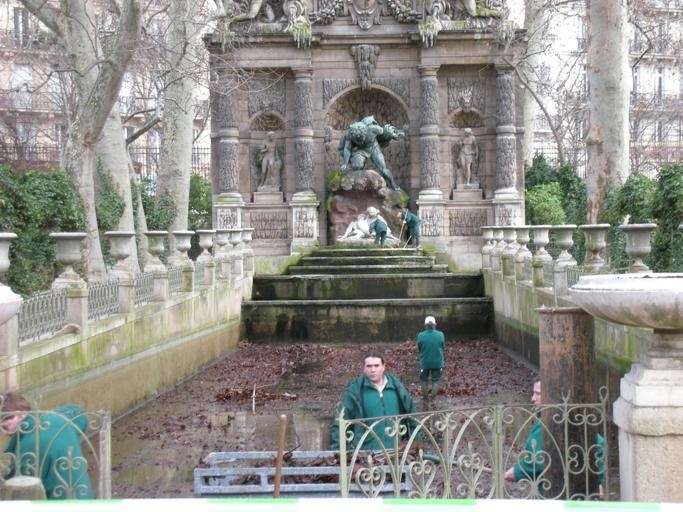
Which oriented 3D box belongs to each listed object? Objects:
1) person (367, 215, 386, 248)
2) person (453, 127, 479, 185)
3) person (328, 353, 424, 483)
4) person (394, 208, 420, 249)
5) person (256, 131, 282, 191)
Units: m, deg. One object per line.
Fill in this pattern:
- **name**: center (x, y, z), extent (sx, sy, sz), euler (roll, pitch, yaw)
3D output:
- **person**: center (1.043, -0.720, 26.646), extent (0.472, 0.805, 0.979), euler (-4, 4, 0)
- **person**: center (4.040, -3.179, 30.145), extent (0.823, 1.830, 0.516), euler (-3, 3, 10)
- **person**: center (0.459, 2.264, 11.549), extent (1.116, 2.090, 0.609), euler (3, -32, -14)
- **person**: center (1.910, -0.789, 26.968), extent (0.682, 1.072, 0.705), euler (-8, -5, -44)
- **person**: center (-2.350, -3.008, 30.104), extent (0.818, 1.888, 0.541), euler (-4, 3, -6)
